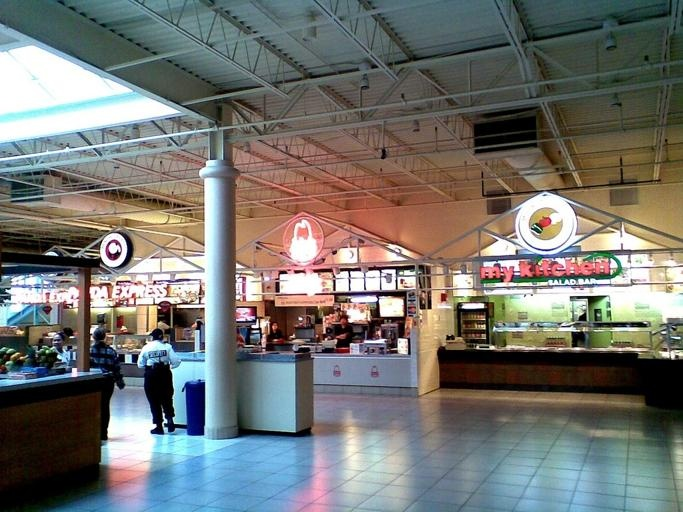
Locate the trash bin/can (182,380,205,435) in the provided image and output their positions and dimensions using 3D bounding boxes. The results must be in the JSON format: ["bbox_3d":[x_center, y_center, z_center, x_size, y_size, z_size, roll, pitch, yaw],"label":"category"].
[{"bbox_3d":[-2.383,2.459,8.782,0.331,0.851,0.153,0,-7,-3],"label":"trash bin/can"}]

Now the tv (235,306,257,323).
[{"bbox_3d":[-3.346,2.069,19.179,0.701,0.596,0.932,0,-6,-8],"label":"tv"}]

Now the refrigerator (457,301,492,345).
[{"bbox_3d":[4.136,2.071,16.949,1.102,1.224,0.405,-2,-7,16],"label":"refrigerator"}]

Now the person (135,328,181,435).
[{"bbox_3d":[-3.040,2.062,9.024,0.639,1.709,0.763,2,-7,-16],"label":"person"}]

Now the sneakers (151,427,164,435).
[{"bbox_3d":[-3.010,2.858,8.874,0.229,0.097,0.107,6,-14,6],"label":"sneakers"}]
